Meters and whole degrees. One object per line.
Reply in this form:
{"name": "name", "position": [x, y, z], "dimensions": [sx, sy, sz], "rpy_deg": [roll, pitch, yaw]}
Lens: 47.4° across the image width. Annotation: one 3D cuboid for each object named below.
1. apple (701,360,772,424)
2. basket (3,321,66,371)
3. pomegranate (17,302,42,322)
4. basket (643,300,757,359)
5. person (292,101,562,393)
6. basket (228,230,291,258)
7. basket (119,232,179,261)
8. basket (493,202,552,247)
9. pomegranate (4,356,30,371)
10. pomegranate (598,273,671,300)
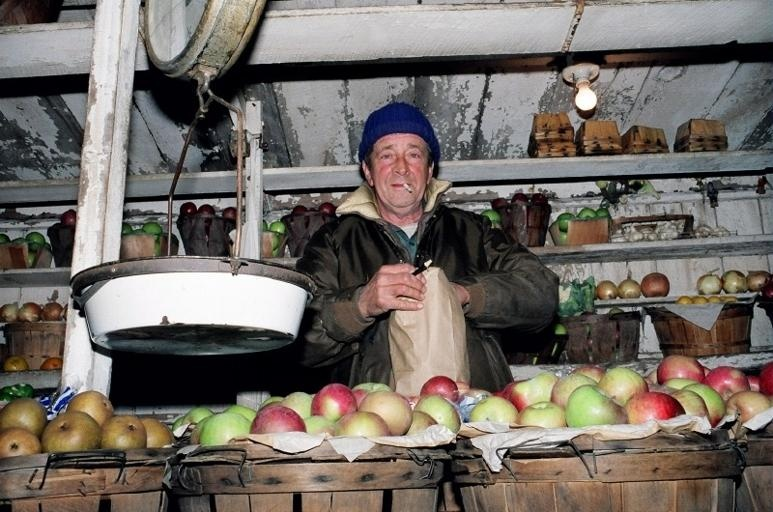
{"name": "apple", "position": [1.494, 0.578, 3.763], "dimensions": [0.285, 0.240, 0.251], "rpy_deg": [-7, -1, 19]}
{"name": "basket", "position": [-2.341, 0.573, 5.900], "dimensions": [0.524, 0.452, 0.365], "rpy_deg": [3, -4, -21]}
{"name": "pomegranate", "position": [-2.550, 0.397, 6.285], "dimensions": [0.149, 0.091, 0.158], "rpy_deg": [5, 28, -6]}
{"name": "basket", "position": [2.013, 0.484, 5.687], "dimensions": [0.637, 0.334, 0.268], "rpy_deg": [-3, -6, 17]}
{"name": "person", "position": [0.170, 0.013, 4.514], "dimensions": [1.323, 1.515, 0.881], "rpy_deg": [2, -3, -5]}
{"name": "basket", "position": [-0.866, -0.075, 5.930], "dimensions": [0.392, 0.228, 0.273], "rpy_deg": [-1, 2, 3]}
{"name": "basket", "position": [-1.607, -0.077, 5.966], "dimensions": [0.358, 0.191, 0.480], "rpy_deg": [0, -6, -12]}
{"name": "basket", "position": [0.932, -0.210, 6.011], "dimensions": [0.267, 0.312, 0.344], "rpy_deg": [1, -3, 0]}
{"name": "pomegranate", "position": [-2.437, 0.730, 5.811], "dimensions": [0.114, 0.121, 0.115], "rpy_deg": [0, -33, -7]}
{"name": "pomegranate", "position": [1.732, 0.243, 6.273], "dimensions": [0.509, 0.207, 0.215], "rpy_deg": [-2, -40, 8]}
